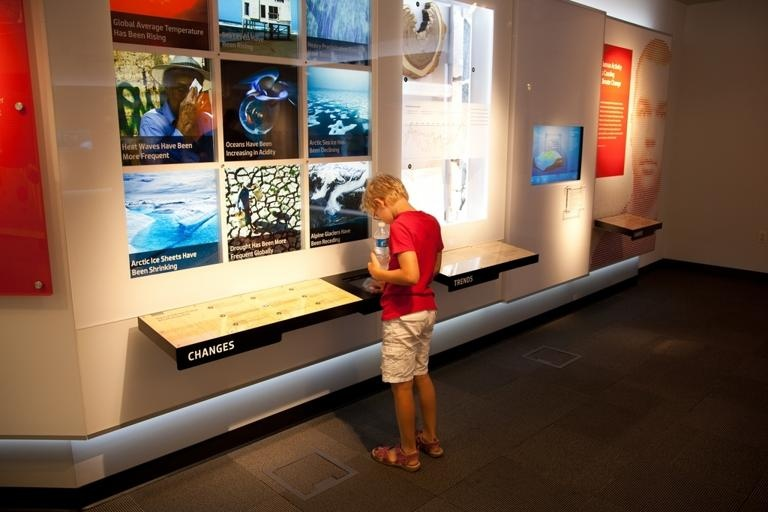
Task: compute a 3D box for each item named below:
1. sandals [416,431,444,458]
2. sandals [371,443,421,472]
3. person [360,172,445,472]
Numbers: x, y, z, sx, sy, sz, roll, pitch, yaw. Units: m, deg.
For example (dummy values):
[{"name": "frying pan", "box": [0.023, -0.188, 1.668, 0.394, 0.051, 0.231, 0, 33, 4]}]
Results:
[{"name": "sandals", "box": [0.339, 1.422, 3.555, 0.114, 0.113, 0.261, -8, 21, -22]}, {"name": "sandals", "box": [0.095, 1.463, 3.496, 0.320, 0.142, 0.158, 10, 12, 29]}, {"name": "person", "box": [0.140, 0.484, 3.378, 0.568, 2.053, 0.544, -2, 16, 7]}]
